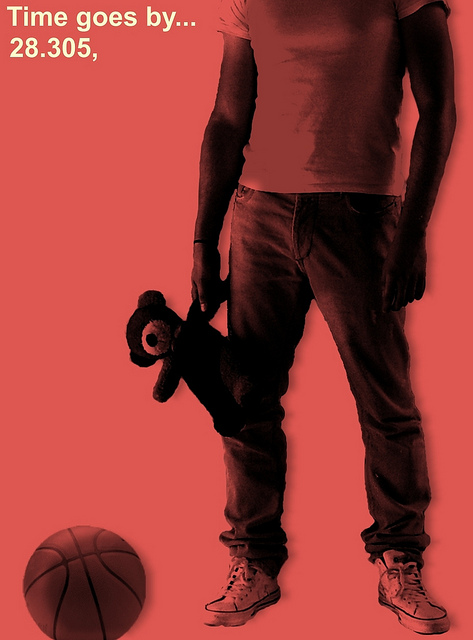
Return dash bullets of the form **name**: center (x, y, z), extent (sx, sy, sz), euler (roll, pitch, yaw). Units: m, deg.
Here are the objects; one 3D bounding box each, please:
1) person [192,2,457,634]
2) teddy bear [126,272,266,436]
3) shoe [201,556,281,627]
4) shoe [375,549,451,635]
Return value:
- **person**: center (0.236, -0.032, 2.561), extent (0.677, 1.766, 1.118), euler (-2, -24, -10)
- **teddy bear**: center (-0.116, 0.123, 2.643), extent (0.377, 0.414, 0.268), euler (-7, -24, 0)
- **shoe**: center (0.012, 0.819, 2.715), extent (0.118, 0.171, 0.359), euler (-7, -5, 32)
- **shoe**: center (0.487, 0.811, 2.634), extent (0.115, 0.256, 0.229), euler (13, -31, -37)
